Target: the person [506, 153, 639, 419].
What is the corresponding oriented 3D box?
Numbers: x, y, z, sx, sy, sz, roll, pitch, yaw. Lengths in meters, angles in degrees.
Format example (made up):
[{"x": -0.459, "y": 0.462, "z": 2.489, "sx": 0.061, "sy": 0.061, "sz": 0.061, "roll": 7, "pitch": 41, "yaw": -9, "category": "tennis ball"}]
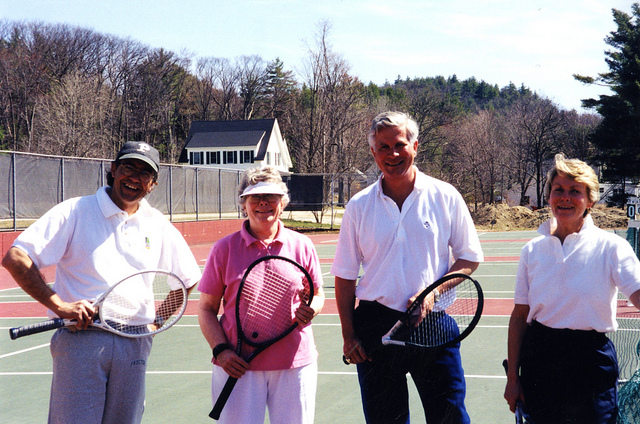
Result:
[{"x": 2.413, "y": 0.730, "z": 6.734, "sx": 1.097, "sy": 2.544, "sz": 0.396, "roll": 4, "pitch": 3, "yaw": 17, "category": "person"}]
